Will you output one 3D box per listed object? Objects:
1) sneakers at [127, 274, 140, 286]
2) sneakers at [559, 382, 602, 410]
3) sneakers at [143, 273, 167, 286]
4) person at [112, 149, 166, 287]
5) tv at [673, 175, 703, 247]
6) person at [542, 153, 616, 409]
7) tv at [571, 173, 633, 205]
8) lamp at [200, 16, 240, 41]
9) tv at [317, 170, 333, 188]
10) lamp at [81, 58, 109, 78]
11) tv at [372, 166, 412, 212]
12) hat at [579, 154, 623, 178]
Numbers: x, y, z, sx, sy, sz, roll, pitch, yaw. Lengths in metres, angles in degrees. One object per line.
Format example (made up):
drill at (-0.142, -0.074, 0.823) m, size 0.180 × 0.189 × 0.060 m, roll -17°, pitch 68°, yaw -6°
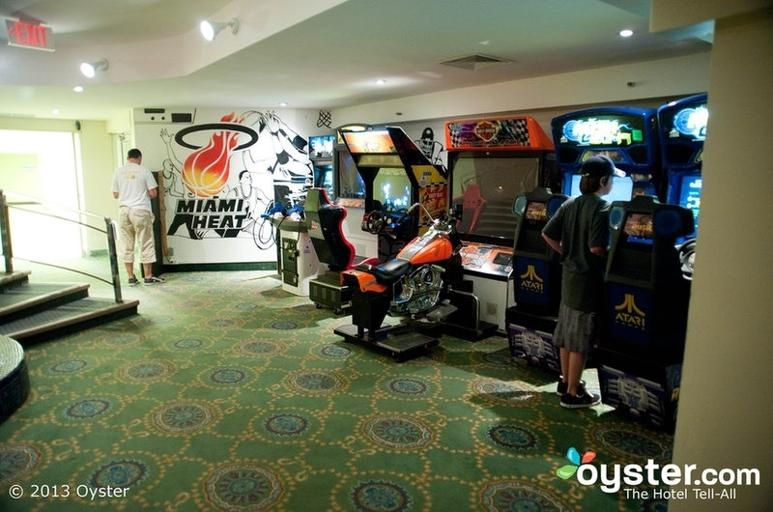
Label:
sneakers at (-4.296, 0.391, 8.028) m, size 0.127 × 0.107 × 0.269 m, roll 1°, pitch 8°, yaw -8°
sneakers at (1.763, 1.284, 4.379) m, size 0.449 × 0.176 × 0.165 m, roll -1°, pitch 2°, yaw -20°
sneakers at (-4.002, 0.403, 8.146) m, size 0.328 × 0.120 × 0.115 m, roll -4°, pitch 8°, yaw -36°
person at (-4.209, -0.674, 7.991) m, size 0.706 × 2.221 × 0.695 m, roll -9°, pitch 18°, yaw -27°
tv at (2.632, -0.352, 4.134) m, size 0.180 × 0.661 × 0.971 m, roll 9°, pitch 18°, yaw 31°
person at (1.656, 0.243, 4.231) m, size 0.539 × 2.205 × 0.536 m, roll 5°, pitch 17°, yaw 16°
tv at (2.061, -0.633, 4.441) m, size 0.221 × 0.329 × 0.424 m, roll -13°, pitch 17°, yaw -41°
lamp at (-1.836, -2.557, 5.230) m, size 0.464 × 0.244 × 0.306 m, roll -24°, pitch 39°, yaw -36°
tv at (-1.194, -1.511, 8.927) m, size 0.386 × 0.396 × 0.058 m, roll 10°, pitch 19°, yaw 31°
lamp at (-4.104, -2.643, 6.644) m, size 0.258 × 0.229 × 0.260 m, roll 14°, pitch 35°, yaw 3°
tv at (0.097, -1.046, 7.146) m, size 0.806 × 0.740 × 0.106 m, roll 7°, pitch 17°, yaw 28°
hat at (1.962, -0.794, 4.230) m, size 0.411 × 0.172 × 0.249 m, roll -10°, pitch 17°, yaw -17°
